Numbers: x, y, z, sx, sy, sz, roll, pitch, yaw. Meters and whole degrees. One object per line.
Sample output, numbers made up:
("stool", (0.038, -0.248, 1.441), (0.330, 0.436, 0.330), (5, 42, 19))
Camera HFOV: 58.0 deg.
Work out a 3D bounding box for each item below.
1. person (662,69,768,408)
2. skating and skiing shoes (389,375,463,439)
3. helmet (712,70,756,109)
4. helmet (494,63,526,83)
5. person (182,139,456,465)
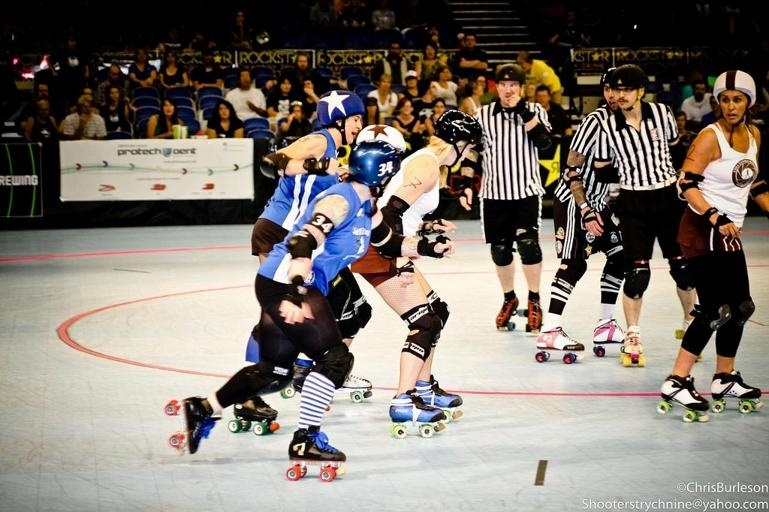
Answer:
("person", (2.277, -0.090, 4.743), (0.675, 2.357, 0.419), (2, 6, 3))
("skating and skiing shoes", (0.276, 1.023, 4.572), (0.302, 0.209, 0.593), (0, -1, 7))
("helmet", (2.340, -1.121, 4.635), (0.232, 0.223, 0.293), (6, 8, 17))
("helmet", (1.268, -1.849, 6.963), (0.274, 0.207, 0.194), (2, 6, 6))
("person", (-0.453, 0.239, 3.912), (1.124, 1.815, 0.564), (-2, 7, -29))
